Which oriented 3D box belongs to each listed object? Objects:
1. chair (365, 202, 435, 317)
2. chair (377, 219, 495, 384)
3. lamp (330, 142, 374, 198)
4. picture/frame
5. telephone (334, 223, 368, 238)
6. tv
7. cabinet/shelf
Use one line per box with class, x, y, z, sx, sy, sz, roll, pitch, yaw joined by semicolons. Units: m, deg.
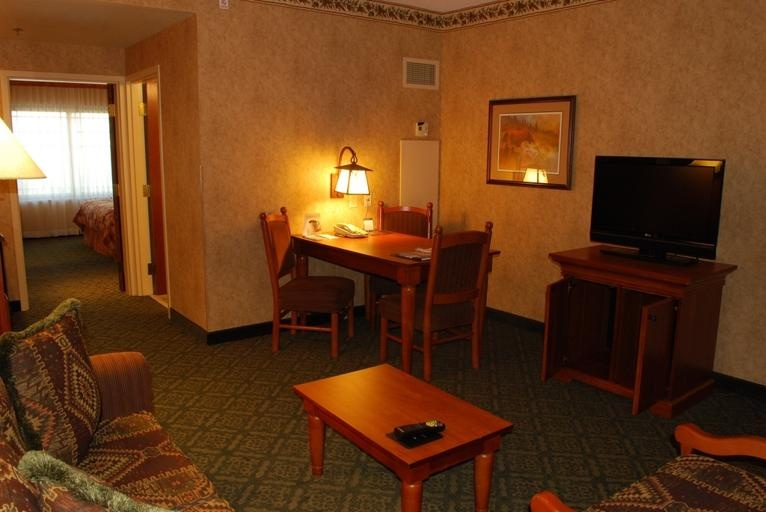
chair;0.115;-0.009;5.957;0.686;1.198;0.668;6;4;35
chair;0.450;0.367;5.081;0.751;1.327;0.807;-4;9;-32
lamp;-0.407;-0.853;5.772;0.396;0.550;0.561;-3;9;-26
picture/frame;1.531;-1.167;5.696;1.012;0.996;0.076;10;13;43
telephone;-0.309;-0.251;5.697;0.196;0.071;0.193;-5;13;-38
tv;2.261;-0.365;4.541;0.822;0.714;0.110;13;13;43
cabinet/shelf;2.068;0.567;4.672;1.185;1.133;1.091;14;18;43
